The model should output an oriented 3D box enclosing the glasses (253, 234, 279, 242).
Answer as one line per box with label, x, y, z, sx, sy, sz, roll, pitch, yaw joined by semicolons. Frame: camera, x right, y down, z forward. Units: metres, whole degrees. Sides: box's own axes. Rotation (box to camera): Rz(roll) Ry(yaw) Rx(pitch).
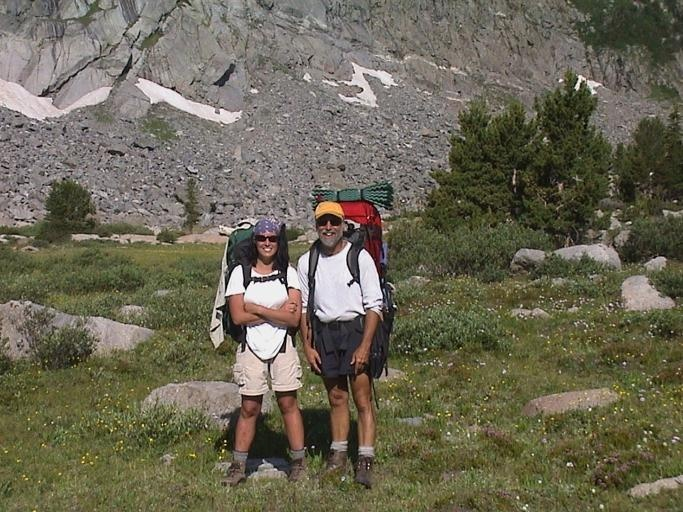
glasses;-1.816;-0.418;17.230;0.525;0.167;0.140;2;6;-12
